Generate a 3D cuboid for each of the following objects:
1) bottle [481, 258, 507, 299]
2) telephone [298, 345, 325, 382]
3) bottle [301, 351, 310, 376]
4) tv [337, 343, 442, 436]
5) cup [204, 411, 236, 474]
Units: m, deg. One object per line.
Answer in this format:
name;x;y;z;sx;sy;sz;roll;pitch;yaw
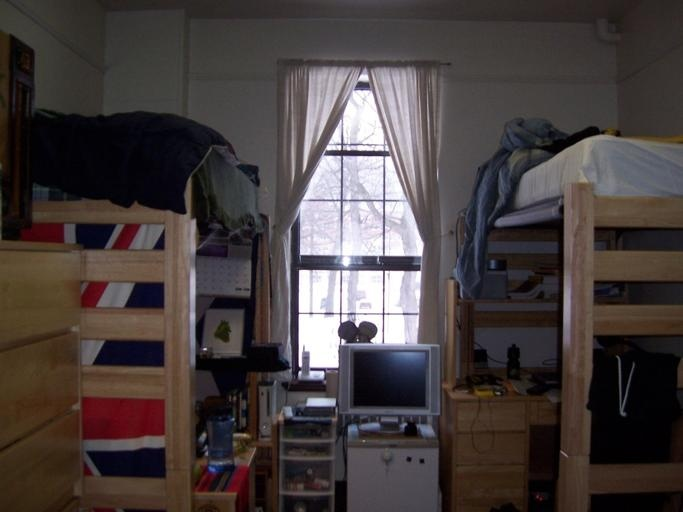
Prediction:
bottle;1.129;0.200;5.680;0.206;0.349;0.337;0;-4;10
telephone;-0.232;0.863;6.106;0.199;0.256;0.248;0;0;-2
bottle;-0.276;0.864;6.089;0.056;0.197;0.125;-1;-6;28
tv;0.343;0.878;5.772;0.796;0.721;0.471;0;-10;2
cup;-0.820;1.289;5.160;0.274;0.411;0.233;-7;-9;40
